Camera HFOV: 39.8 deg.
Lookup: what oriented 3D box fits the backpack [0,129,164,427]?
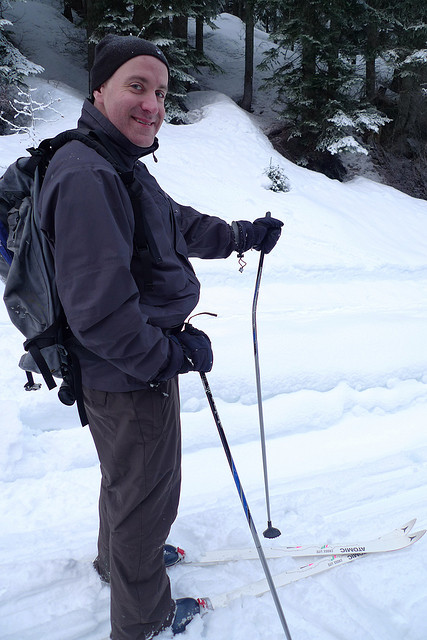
[{"bbox_3d":[-0.482,-0.110,2.074,0.589,1.058,0.375,3,23,-2],"label":"backpack"}]

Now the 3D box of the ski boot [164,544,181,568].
[{"bbox_3d":[-0.191,1.103,2.802,0.084,0.069,0.135,3,21,-3],"label":"ski boot"}]
